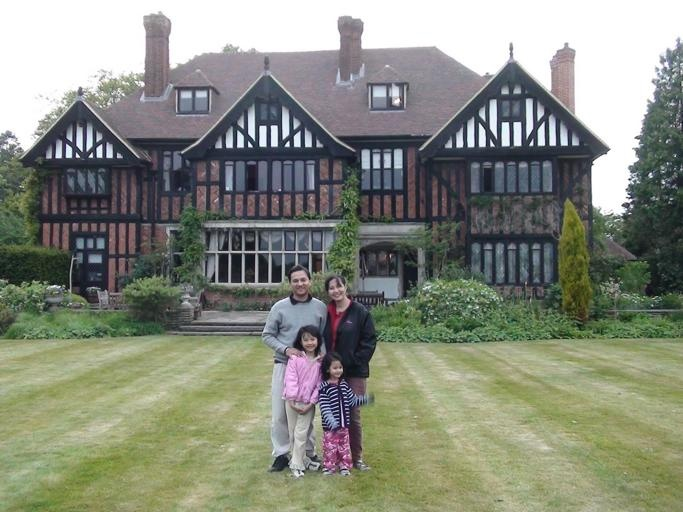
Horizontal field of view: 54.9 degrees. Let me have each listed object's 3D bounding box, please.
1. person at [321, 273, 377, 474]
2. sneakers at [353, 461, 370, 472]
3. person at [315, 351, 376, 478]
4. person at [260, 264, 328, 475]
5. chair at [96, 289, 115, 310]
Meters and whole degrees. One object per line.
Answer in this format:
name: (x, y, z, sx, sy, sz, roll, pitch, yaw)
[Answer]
person: (0.024, 1.696, 9.396, 0.935, 2.998, 0.939, -3, 5, 6)
sneakers: (0.281, 2.969, 9.276, 0.258, 0.128, 0.098, -5, -2, 30)
person: (-0.009, 2.201, 9.173, 0.625, 1.696, 0.285, 0, 4, -2)
person: (-0.613, 1.594, 9.547, 0.885, 3.011, 0.871, -2, 7, -19)
chair: (-9.225, 1.730, 25.693, 0.459, 0.532, 0.906, 3, -14, -14)
